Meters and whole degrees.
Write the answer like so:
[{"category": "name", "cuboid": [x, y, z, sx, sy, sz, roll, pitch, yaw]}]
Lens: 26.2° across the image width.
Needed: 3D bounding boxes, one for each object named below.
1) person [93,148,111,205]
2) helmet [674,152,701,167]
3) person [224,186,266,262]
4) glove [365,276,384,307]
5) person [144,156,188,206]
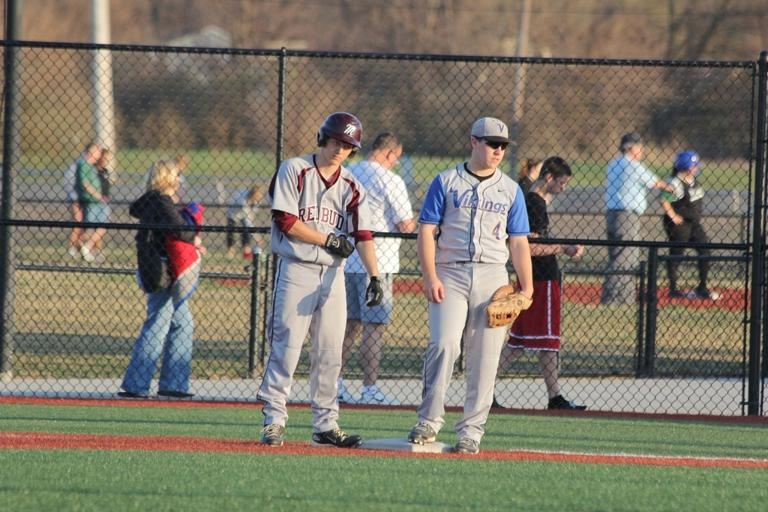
[{"category": "person", "cuboid": [-6.481, -1.791, 37.941, 0.378, 1.152, 1.614, 4, -6, -10]}, {"category": "helmet", "cuboid": [6.912, -2.129, 37.548, 0.511, 0.346, 0.565, -26, 0, 20]}, {"category": "person", "cuboid": [-3.609, -0.773, 42.941, 0.675, 0.753, 1.867, -24, 14, -6]}, {"category": "glove", "cuboid": [-0.193, 0.622, 30.875, 0.201, 0.512, 0.357, 1, -1, -33]}, {"category": "person", "cuboid": [-4.186, -1.489, 32.953, 0.744, 1.108, 0.953, 4, 4, 26]}]
